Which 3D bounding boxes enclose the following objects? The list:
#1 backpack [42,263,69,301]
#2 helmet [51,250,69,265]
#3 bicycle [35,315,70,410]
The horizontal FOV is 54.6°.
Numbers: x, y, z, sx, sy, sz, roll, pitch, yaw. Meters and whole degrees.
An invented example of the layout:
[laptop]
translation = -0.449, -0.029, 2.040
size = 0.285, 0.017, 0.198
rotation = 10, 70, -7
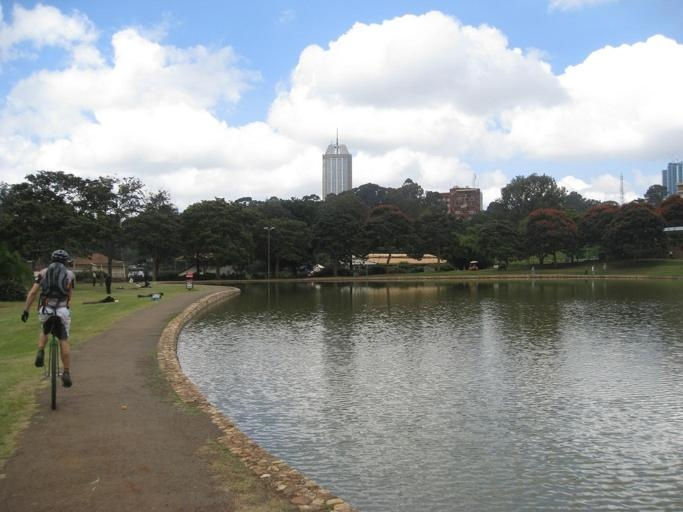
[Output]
[backpack]
translation = -7.308, 0.637, 16.897
size = 0.640, 0.957, 0.411
rotation = 2, -3, -22
[helmet]
translation = -7.345, 0.041, 17.298
size = 0.439, 0.504, 0.538
rotation = 3, 5, -24
[bicycle]
translation = -7.469, 2.661, 17.098
size = 0.494, 2.432, 1.258
rotation = 2, -3, -23
